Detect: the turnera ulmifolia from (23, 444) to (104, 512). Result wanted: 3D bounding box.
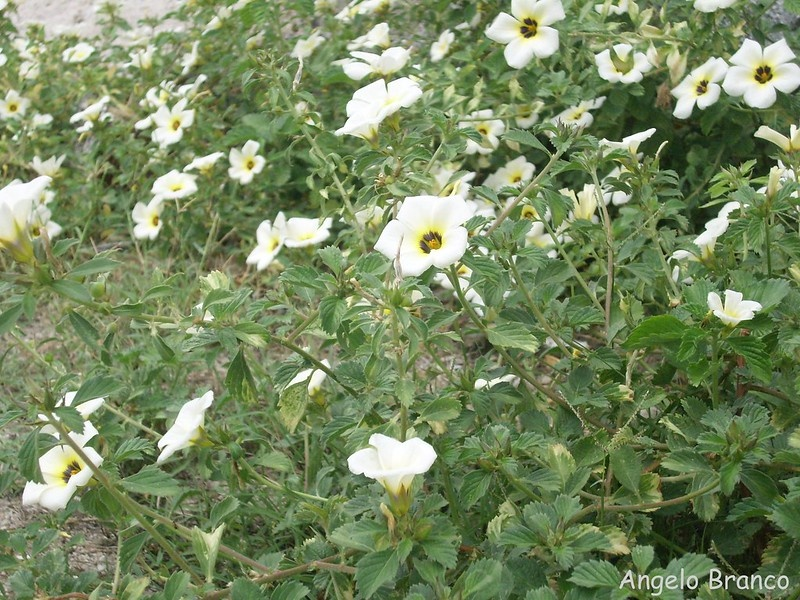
[{"bbox_3d":[-1.078,0.564,2.689,0.301,0.170,0.190,-3,42,43],"label":"turnera ulmifolia"}]

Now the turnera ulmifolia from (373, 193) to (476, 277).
[{"bbox_3d":[0.077,-0.214,2.587,0.363,0.141,0.380,-17,9,26],"label":"turnera ulmifolia"}]

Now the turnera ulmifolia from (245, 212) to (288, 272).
[{"bbox_3d":[-0.542,-0.270,3.656,0.227,0.100,0.244,-32,58,42],"label":"turnera ulmifolia"}]

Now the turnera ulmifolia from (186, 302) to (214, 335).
[{"bbox_3d":[-0.647,0.066,2.761,0.082,0.085,0.026,18,58,17],"label":"turnera ulmifolia"}]

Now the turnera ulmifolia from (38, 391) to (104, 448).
[{"bbox_3d":[-1.020,0.370,2.615,0.184,0.064,0.192,21,78,35],"label":"turnera ulmifolia"}]

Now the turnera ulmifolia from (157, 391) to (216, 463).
[{"bbox_3d":[-0.668,0.409,2.790,0.218,0.079,0.218,-52,14,6],"label":"turnera ulmifolia"}]
